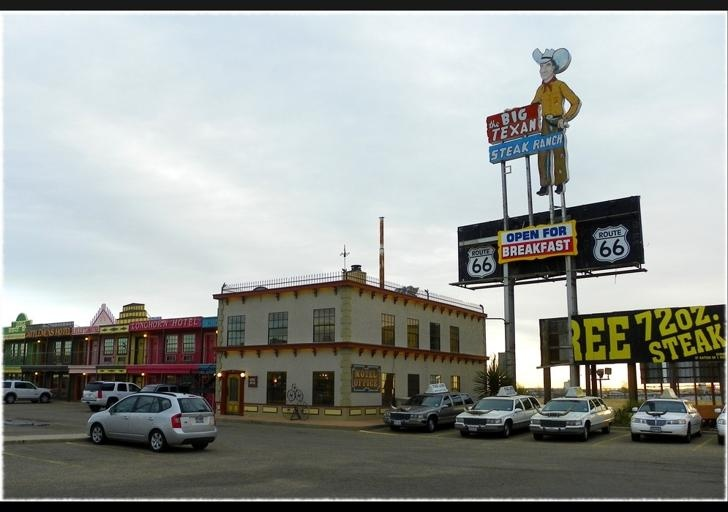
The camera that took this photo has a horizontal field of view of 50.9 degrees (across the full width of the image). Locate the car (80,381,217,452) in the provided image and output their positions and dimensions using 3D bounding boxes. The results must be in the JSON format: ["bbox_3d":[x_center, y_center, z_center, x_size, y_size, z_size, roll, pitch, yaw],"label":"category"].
[{"bbox_3d":[-7.254,5.707,26.196,3.906,1.946,1.158,-5,-14,23],"label":"car"}]

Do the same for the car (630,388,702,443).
[{"bbox_3d":[12.350,6.567,30.692,1.488,1.096,3.024,-9,-22,29],"label":"car"}]

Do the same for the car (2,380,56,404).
[{"bbox_3d":[-24.054,9.675,53.959,1.580,1.692,4.276,-3,-13,14],"label":"car"}]
